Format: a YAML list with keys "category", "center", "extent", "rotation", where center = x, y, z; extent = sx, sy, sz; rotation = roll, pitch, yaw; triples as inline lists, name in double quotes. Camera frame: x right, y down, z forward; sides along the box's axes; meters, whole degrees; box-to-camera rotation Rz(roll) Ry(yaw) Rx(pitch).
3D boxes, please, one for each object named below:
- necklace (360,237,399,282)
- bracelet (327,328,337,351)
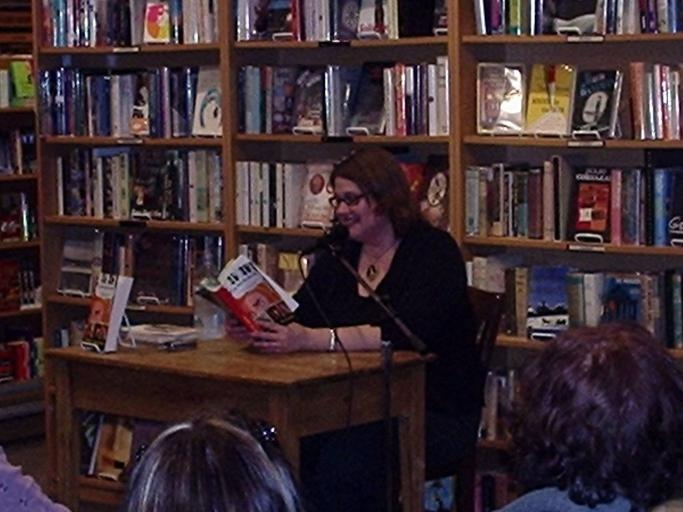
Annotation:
- category: "necklace"
  center: [0.141, 0.024, 2.640]
  extent: [0.104, 0.166, 0.033]
  rotation: [22, -11, 32]
- category: "bracelet"
  center: [-0.026, 0.275, 2.275]
  extent: [0.041, 0.060, 0.022]
  rotation: [7, 5, 40]
